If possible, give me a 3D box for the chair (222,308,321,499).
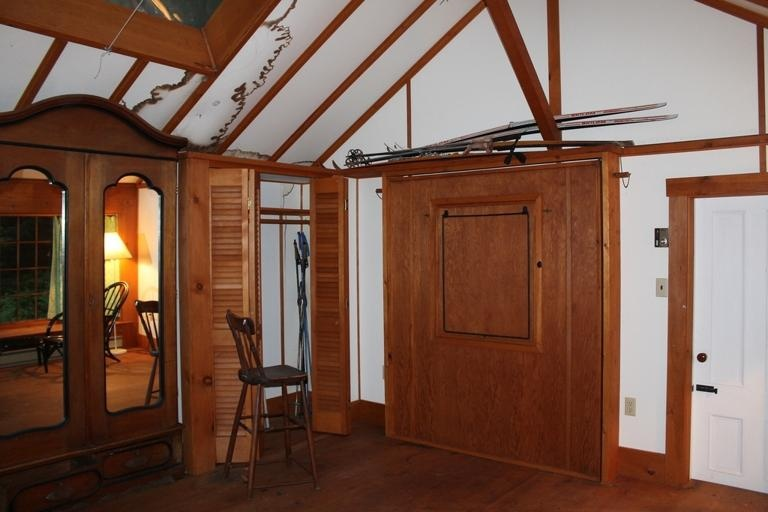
[{"bbox_3d":[-1.036,1.339,5.505,0.916,1.573,0.919,-1,-2,9],"label":"chair"}]

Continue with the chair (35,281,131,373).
[{"bbox_3d":[-2.595,0.601,5.187,0.622,0.850,0.538,4,15,-27],"label":"chair"}]
